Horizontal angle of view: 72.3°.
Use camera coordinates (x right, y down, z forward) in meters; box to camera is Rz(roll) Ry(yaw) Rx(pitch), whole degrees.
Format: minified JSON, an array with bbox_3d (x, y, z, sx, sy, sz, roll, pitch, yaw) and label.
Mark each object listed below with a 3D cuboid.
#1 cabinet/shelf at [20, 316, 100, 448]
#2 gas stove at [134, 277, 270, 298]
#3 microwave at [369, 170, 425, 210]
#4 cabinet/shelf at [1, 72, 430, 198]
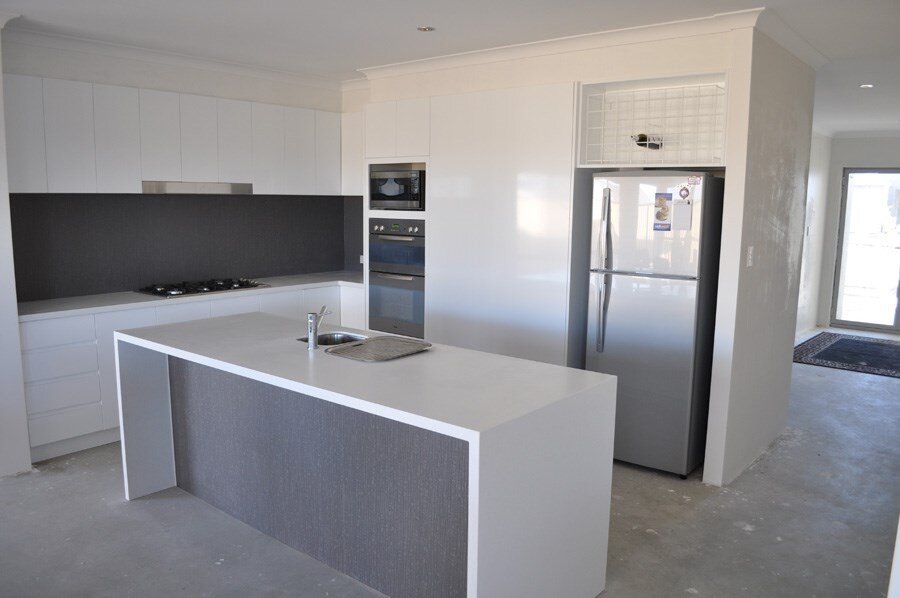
[{"bbox_3d":[-3.203,0.657,5.149,0.559,1.002,0.226,-6,14,-29],"label":"cabinet/shelf"},{"bbox_3d":[-2.498,-0.125,6.215,1.044,0.052,0.688,-9,15,-41],"label":"gas stove"},{"bbox_3d":[-0.626,-1.088,6.134,0.693,0.399,0.383,-9,11,-44],"label":"microwave"},{"bbox_3d":[-2.432,-1.495,5.896,2.979,0.983,0.331,-7,15,-35],"label":"cabinet/shelf"}]
